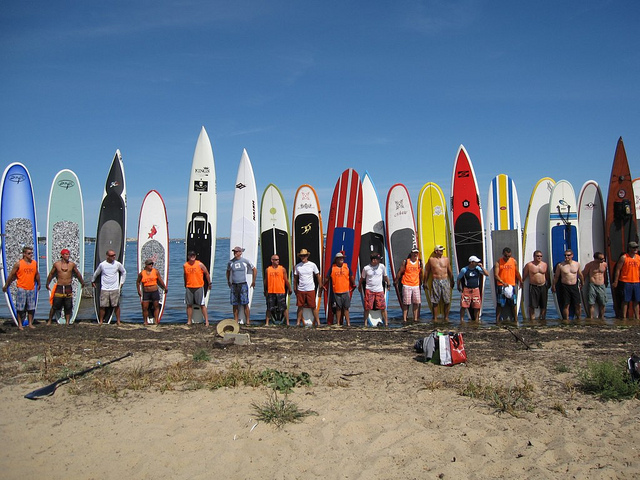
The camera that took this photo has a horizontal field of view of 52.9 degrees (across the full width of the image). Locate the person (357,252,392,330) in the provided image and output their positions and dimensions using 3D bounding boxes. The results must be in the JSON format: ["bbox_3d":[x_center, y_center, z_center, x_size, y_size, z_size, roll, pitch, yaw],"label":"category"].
[{"bbox_3d":[1.110,1.061,13.065,0.555,1.512,0.790,0,13,3],"label":"person"}]

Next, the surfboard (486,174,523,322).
[{"bbox_3d":[4.183,-0.191,14.637,0.861,0.476,4.726,-4,41,18],"label":"surfboard"}]

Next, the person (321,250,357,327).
[{"bbox_3d":[0.475,1.069,13.504,0.609,1.778,1.448,0,14,0],"label":"person"}]

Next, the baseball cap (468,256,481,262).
[{"bbox_3d":[3.094,0.371,12.965,0.207,0.091,0.152,-1,4,8],"label":"baseball cap"}]

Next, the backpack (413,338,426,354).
[{"bbox_3d":[1.645,1.726,10.610,0.165,0.245,0.089,20,-8,14],"label":"backpack"}]

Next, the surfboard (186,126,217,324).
[{"bbox_3d":[-2.526,-0.231,13.731,0.598,4.426,0.353,0,-3,-1],"label":"surfboard"}]

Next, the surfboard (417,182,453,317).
[{"bbox_3d":[2.454,0.257,13.815,0.528,2.973,0.291,-3,-15,11],"label":"surfboard"}]

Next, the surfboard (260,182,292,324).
[{"bbox_3d":[-1.014,-0.046,14.570,0.644,0.338,3.292,6,37,-13],"label":"surfboard"}]

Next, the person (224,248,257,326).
[{"bbox_3d":[-1.580,0.923,13.062,0.563,1.580,0.412,-12,17,-41],"label":"person"}]

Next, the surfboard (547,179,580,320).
[{"bbox_3d":[5.408,0.189,14.171,0.695,3.833,0.397,-9,-36,27],"label":"surfboard"}]

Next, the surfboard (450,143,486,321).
[{"bbox_3d":[3.150,-0.034,13.792,0.627,3.899,0.393,-1,-11,10],"label":"surfboard"}]

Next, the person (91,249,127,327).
[{"bbox_3d":[-4.220,0.937,12.956,0.609,1.522,0.496,0,13,0],"label":"person"}]

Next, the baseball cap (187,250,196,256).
[{"bbox_3d":[-2.555,0.236,12.871,0.106,0.063,0.168,1,-3,-29],"label":"baseball cap"}]

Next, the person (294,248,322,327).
[{"bbox_3d":[-0.253,0.987,13.167,0.522,1.622,0.783,-1,13,-3],"label":"person"}]

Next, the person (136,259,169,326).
[{"bbox_3d":[-3.481,1.132,13.475,0.579,1.719,1.428,-4,14,-14],"label":"person"}]

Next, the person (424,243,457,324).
[{"bbox_3d":[2.536,0.986,13.724,0.609,1.765,1.116,2,14,12],"label":"person"}]

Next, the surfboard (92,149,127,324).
[{"bbox_3d":[-4.369,0.166,13.473,0.523,3.810,0.371,4,-10,-15],"label":"surfboard"}]

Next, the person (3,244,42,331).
[{"bbox_3d":[-5.671,0.896,12.465,0.565,1.484,0.535,-9,16,-34],"label":"person"}]

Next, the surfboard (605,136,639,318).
[{"bbox_3d":[6.285,-0.030,13.427,0.550,3.937,0.750,0,-1,7],"label":"surfboard"}]

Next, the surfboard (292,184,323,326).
[{"bbox_3d":[-0.299,0.059,14.170,0.630,3.534,0.327,-1,-11,8],"label":"surfboard"}]

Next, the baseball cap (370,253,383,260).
[{"bbox_3d":[1.165,0.324,13.222,0.210,0.099,0.144,2,3,-17],"label":"baseball cap"}]

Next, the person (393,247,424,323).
[{"bbox_3d":[1.886,0.969,13.479,0.512,1.650,0.504,5,14,23],"label":"person"}]

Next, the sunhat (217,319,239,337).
[{"bbox_3d":[-1.625,1.581,11.486,0.383,0.228,0.430,-3,15,-10],"label":"sunhat"}]

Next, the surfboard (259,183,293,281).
[{"bbox_3d":[-1.021,0.146,14.959,0.782,3.602,0.370,2,34,4],"label":"surfboard"}]

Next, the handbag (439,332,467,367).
[{"bbox_3d":[2.108,1.693,10.042,0.174,0.461,0.429,-11,-10,44],"label":"handbag"}]

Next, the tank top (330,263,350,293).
[{"bbox_3d":[0.431,0.739,13.261,0.398,0.676,0.337,-4,10,3],"label":"tank top"}]

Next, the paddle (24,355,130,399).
[{"bbox_3d":[-3.579,1.998,9.611,0.262,0.093,1.560,16,28,43],"label":"paddle"}]

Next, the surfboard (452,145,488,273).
[{"bbox_3d":[3.379,-0.293,14.718,0.801,0.487,4.389,-1,-40,17],"label":"surfboard"}]

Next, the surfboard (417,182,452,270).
[{"bbox_3d":[2.564,-0.756,14.665,0.557,0.295,2.530,-13,-33,6],"label":"surfboard"}]

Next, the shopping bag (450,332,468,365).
[{"bbox_3d":[2.164,1.712,10.110,0.320,0.386,0.092,17,-29,-39],"label":"shopping bag"}]

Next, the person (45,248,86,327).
[{"bbox_3d":[-5.109,0.970,12.862,0.693,1.611,0.834,-4,14,-17],"label":"person"}]

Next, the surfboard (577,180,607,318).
[{"bbox_3d":[5.790,0.354,13.730,0.491,2.972,0.308,0,-5,16],"label":"surfboard"}]

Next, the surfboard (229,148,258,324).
[{"bbox_3d":[-1.606,0.007,13.680,0.527,3.996,0.360,-3,-10,6],"label":"surfboard"}]

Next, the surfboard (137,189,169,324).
[{"bbox_3d":[-3.710,0.306,14.423,0.671,0.353,3.763,2,41,-17],"label":"surfboard"}]

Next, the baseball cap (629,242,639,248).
[{"bbox_3d":[6.307,0.075,12.940,0.136,0.074,0.106,-26,9,-8],"label":"baseball cap"}]

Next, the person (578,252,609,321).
[{"bbox_3d":[5.786,0.963,13.482,0.486,1.533,0.514,0,13,4],"label":"person"}]
